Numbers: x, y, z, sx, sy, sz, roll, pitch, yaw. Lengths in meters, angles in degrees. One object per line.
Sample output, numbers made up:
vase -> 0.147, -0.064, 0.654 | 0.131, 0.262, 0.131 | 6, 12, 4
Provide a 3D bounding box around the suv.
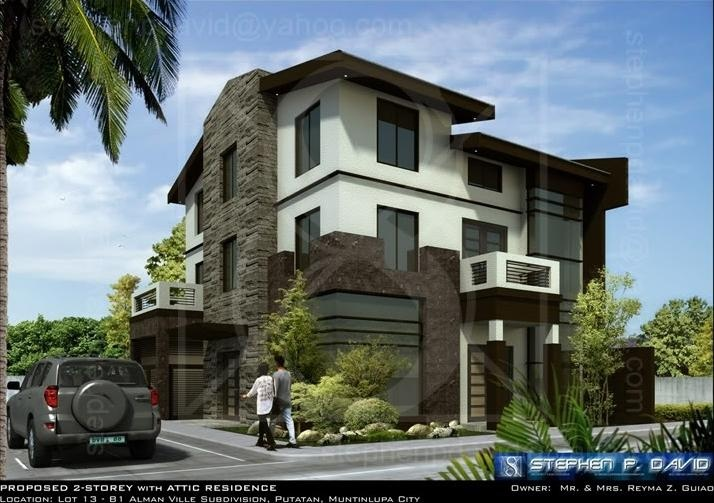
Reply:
suv -> -6.690, 3.749, 18.349 | 5.237, 2.486, 2.815 | -10, -16, 39
